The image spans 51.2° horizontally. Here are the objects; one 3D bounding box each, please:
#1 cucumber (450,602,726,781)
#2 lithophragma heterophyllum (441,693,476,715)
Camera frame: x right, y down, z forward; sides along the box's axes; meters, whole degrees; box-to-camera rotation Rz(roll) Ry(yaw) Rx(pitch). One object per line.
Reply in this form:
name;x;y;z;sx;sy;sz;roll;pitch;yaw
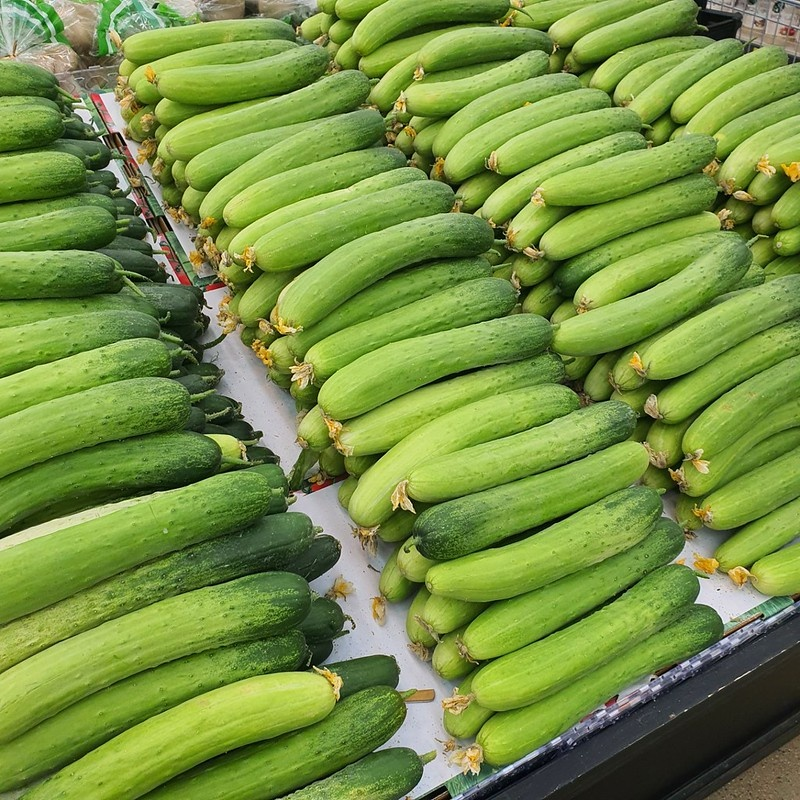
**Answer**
cucumber;0.616;1.001;2.908;1.191;0.238;0.204;-24;74;-10
lithophragma heterophyllum;0.194;1.050;2.908;0.114;0.048;0.073;-23;72;-8
